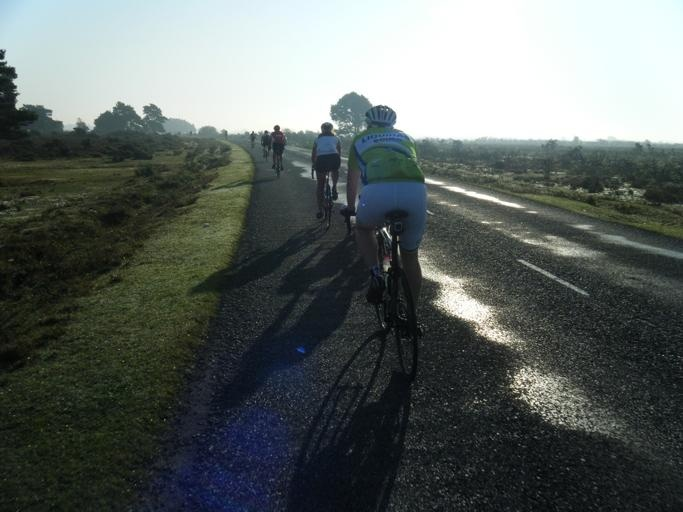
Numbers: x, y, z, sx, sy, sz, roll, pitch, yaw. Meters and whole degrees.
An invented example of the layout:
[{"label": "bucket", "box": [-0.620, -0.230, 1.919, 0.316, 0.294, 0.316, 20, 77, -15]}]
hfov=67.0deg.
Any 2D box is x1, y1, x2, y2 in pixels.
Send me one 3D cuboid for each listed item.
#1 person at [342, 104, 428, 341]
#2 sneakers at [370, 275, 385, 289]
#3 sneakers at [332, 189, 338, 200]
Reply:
[{"label": "person", "box": [0.527, -0.563, 6.119, 0.720, 2.348, 1.351, -7, 15, -30]}, {"label": "sneakers", "box": [0.427, 0.309, 6.139, 0.112, 0.191, 0.170, 2, -13, -21]}, {"label": "sneakers", "box": [-0.134, -1.219, 10.233, 0.112, 0.177, 0.167, 0, 0, -2]}]
